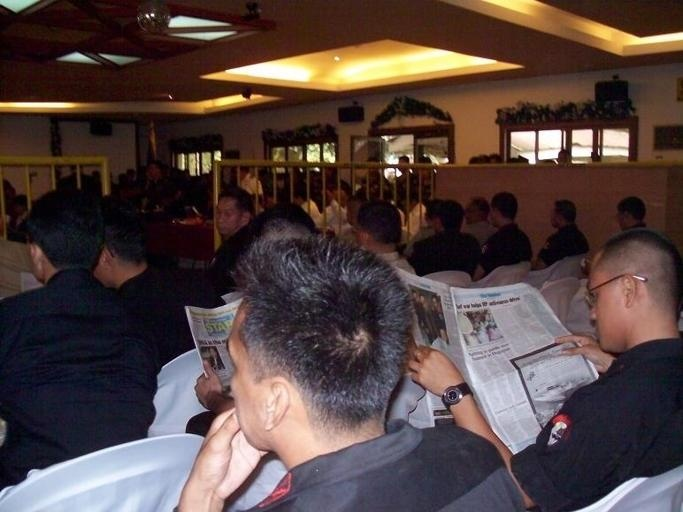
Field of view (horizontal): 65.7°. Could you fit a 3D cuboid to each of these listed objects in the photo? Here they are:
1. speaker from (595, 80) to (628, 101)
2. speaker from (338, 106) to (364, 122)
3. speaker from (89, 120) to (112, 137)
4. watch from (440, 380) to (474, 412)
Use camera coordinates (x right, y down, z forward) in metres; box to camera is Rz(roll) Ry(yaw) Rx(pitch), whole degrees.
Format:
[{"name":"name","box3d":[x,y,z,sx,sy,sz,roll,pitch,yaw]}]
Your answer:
[{"name":"speaker","box3d":[3.882,-2.401,7.565,0.486,0.387,0.276,10,16,38]},{"name":"speaker","box3d":[0.175,-2.724,10.184,0.593,0.311,0.211,3,8,40]},{"name":"speaker","box3d":[-6.276,-3.347,13.840,0.577,0.404,0.286,-5,7,-27]},{"name":"watch","box3d":[0.317,0.381,1.453,0.086,0.056,0.084,-29,-19,-5]}]
